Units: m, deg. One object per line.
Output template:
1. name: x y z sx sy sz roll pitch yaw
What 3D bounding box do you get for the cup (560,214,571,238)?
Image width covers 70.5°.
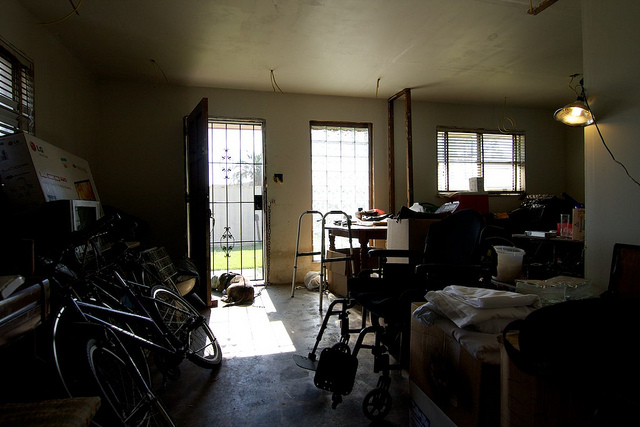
1. cup: 2.921 0.144 5.370 0.087 0.253 0.156 2 5 31

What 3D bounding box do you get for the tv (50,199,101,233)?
1. tv: -2.278 0.042 4.161 0.301 0.310 0.439 0 0 0

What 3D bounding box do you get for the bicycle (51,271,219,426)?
1. bicycle: -1.414 1.003 3.524 0.926 1.111 1.476 0 4 5

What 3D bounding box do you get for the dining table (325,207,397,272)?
1. dining table: 0.592 0.237 5.724 0.744 0.464 0.932 0 1 -18

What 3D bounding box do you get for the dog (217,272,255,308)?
1. dog: -1.075 0.966 5.872 0.420 0.257 0.790 -2 5 -16

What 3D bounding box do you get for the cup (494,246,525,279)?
1. cup: 1.749 0.459 4.155 0.279 0.303 0.269 -2 5 0
